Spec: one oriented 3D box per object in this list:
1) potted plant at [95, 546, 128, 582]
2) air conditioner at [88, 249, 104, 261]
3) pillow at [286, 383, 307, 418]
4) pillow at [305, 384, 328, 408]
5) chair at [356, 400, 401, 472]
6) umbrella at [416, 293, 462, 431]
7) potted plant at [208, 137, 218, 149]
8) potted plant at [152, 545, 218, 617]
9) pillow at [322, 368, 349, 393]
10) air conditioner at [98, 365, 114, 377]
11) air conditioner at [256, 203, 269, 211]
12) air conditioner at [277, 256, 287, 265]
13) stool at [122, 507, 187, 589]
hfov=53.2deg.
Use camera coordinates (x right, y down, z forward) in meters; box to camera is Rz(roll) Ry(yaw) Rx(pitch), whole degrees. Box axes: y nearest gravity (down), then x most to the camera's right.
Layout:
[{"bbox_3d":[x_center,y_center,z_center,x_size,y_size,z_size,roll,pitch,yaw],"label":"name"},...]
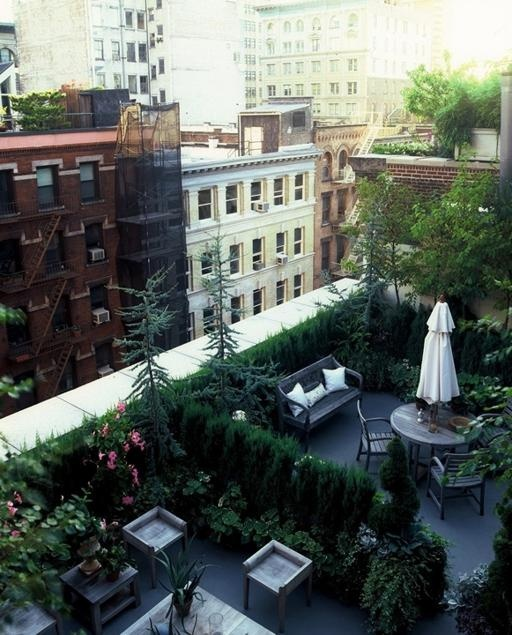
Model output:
[{"bbox_3d":[-1.942,3.380,7.009,0.359,0.608,0.408,-6,15,-13],"label":"potted plant"},{"bbox_3d":[-9.168,-3.569,29.272,0.567,0.703,0.737,3,10,18],"label":"air conditioner"},{"bbox_3d":[0.895,1.878,11.369,0.211,0.403,0.604,-7,22,22],"label":"pillow"},{"bbox_3d":[1.404,1.850,12.051,0.241,0.330,0.903,-36,-7,41],"label":"pillow"},{"bbox_3d":[2.467,2.434,10.380,0.925,1.361,0.910,-5,39,1],"label":"chair"},{"bbox_3d":[3.489,0.881,9.754,0.777,2.706,0.774,3,15,19],"label":"umbrella"},{"bbox_3d":[-3.493,-14.204,41.853,0.778,0.885,1.223,-3,14,-4],"label":"potted plant"},{"bbox_3d":[-0.933,3.454,6.467,0.428,0.412,0.586,-12,38,-8],"label":"potted plant"},{"bbox_3d":[1.938,1.565,12.626,0.553,0.507,0.193,-4,-22,-9],"label":"pillow"},{"bbox_3d":[-9.235,3.342,31.772,0.961,0.485,0.810,8,18,35],"label":"air conditioner"},{"bbox_3d":[0.448,-7.603,35.296,0.609,0.512,0.582,12,18,39],"label":"air conditioner"},{"bbox_3d":[2.014,-4.294,38.352,0.794,0.753,0.398,-10,16,-27],"label":"air conditioner"},{"bbox_3d":[-1.580,3.578,7.992,0.674,0.776,0.807,13,15,36],"label":"stool"}]
